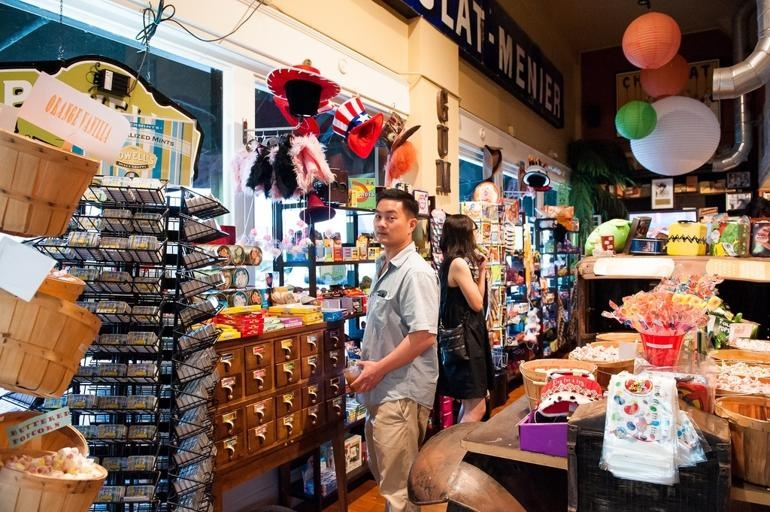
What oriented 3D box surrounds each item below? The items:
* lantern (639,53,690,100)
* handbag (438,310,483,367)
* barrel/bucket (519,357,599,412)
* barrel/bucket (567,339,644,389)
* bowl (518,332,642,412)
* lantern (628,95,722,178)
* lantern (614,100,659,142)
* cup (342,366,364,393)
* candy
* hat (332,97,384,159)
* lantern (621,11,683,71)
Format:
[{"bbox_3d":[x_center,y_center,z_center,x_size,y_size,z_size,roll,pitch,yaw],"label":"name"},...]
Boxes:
[{"bbox_3d":[3.602,-2.226,7.183,0.602,0.665,0.583,-1,2,-34],"label":"lantern"},{"bbox_3d":[0.537,0.590,3.846,0.389,0.463,0.221,-8,-17,21],"label":"handbag"},{"bbox_3d":[0.776,0.574,2.541,0.253,0.135,0.247,-2,0,0],"label":"barrel/bucket"},{"bbox_3d":[1.084,0.507,2.748,0.280,0.103,0.279,-2,-4,0],"label":"barrel/bucket"},{"bbox_3d":[0.930,0.446,2.607,0.471,0.167,0.448,-7,2,0],"label":"bowl"},{"bbox_3d":[3.642,-1.494,7.172,1.072,0.997,1.146,1,-5,5],"label":"lantern"},{"bbox_3d":[3.091,-1.669,6.886,0.479,0.516,0.477,-1,2,3],"label":"lantern"},{"bbox_3d":[-0.157,0.708,3.119,0.138,0.148,0.137,-1,-9,0],"label":"cup"},{"bbox_3d":[1.347,0.234,2.627,0.429,0.268,0.663,-6,-5,35],"label":"candy"},{"bbox_3d":[-0.192,-0.962,4.238,0.197,0.355,0.502,25,-12,24],"label":"hat"},{"bbox_3d":[2.922,-2.466,6.144,0.641,0.725,0.631,9,11,40],"label":"lantern"}]
